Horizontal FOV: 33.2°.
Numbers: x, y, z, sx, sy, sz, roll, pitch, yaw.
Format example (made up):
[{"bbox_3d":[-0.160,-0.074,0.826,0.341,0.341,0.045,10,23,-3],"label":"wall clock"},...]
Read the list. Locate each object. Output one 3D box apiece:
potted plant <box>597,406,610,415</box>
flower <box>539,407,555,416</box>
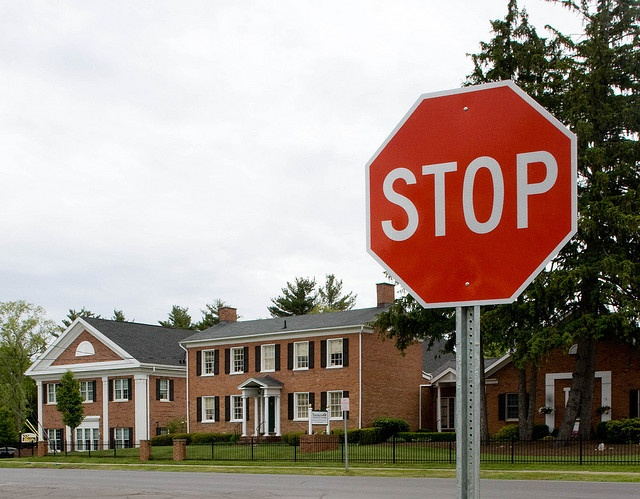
[{"bbox_3d":[15.331,8.677,57.823,0.430,0.265,0.467,-1,-19,-3],"label":"potted plant"},{"bbox_3d":[12.600,8.956,59.813,0.609,0.392,0.162,0,20,26],"label":"flower"}]
